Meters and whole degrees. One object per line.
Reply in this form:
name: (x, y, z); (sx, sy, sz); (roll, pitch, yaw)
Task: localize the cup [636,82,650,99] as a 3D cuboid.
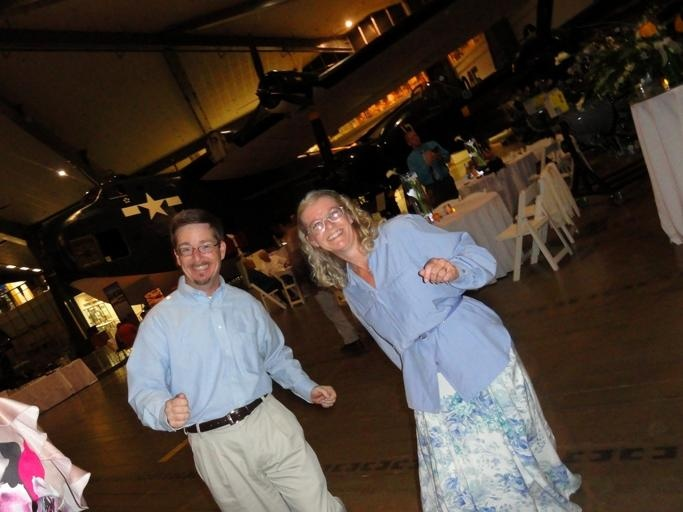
cup: (3.045, -1.665, 4.519); (0.094, 0.155, 0.220); (-26, 11, 19)

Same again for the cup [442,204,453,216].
cup: (1.481, -0.631, 6.171); (0.164, 0.172, 0.158); (-3, 10, 1)

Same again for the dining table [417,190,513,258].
dining table: (1.873, -0.506, 6.180); (1.032, 0.498, 1.011); (-30, 27, 8)
